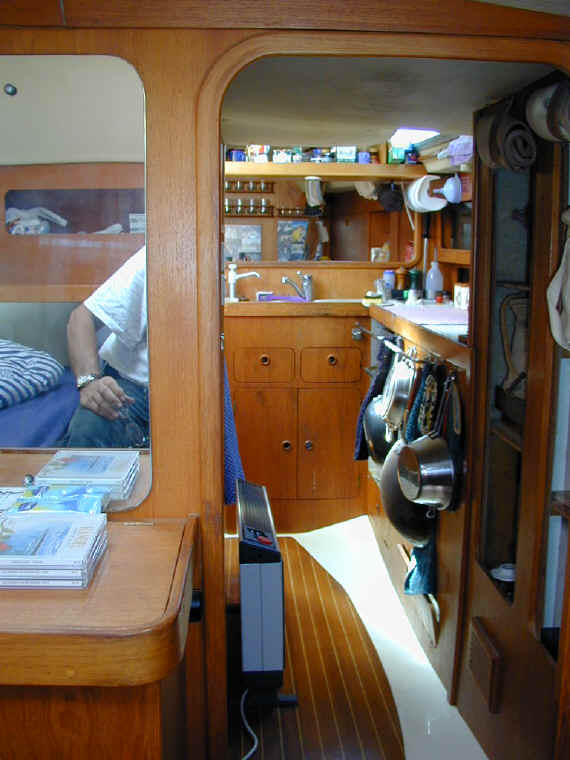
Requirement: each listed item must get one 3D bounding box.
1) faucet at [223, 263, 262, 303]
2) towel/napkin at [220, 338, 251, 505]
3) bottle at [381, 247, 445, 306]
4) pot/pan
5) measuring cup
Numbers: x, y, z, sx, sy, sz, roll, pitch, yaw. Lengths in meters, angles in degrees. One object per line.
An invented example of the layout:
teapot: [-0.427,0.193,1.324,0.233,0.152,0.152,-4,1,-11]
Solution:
faucet: [-0.324,-0.659,4.270,0.269,0.244,0.298,1,7,13]
towel/napkin: [-0.161,0.141,1.863,0.109,0.418,0.111,13,11,17]
bottle: [0.818,-0.605,3.975,0.527,0.405,0.173,3,8,15]
pot/pan: [0.381,0.208,2.714,0.241,0.661,0.469,1,11,-2]
measuring cup: [0.472,0.219,2.075,0.164,0.472,0.161,-1,7,0]
